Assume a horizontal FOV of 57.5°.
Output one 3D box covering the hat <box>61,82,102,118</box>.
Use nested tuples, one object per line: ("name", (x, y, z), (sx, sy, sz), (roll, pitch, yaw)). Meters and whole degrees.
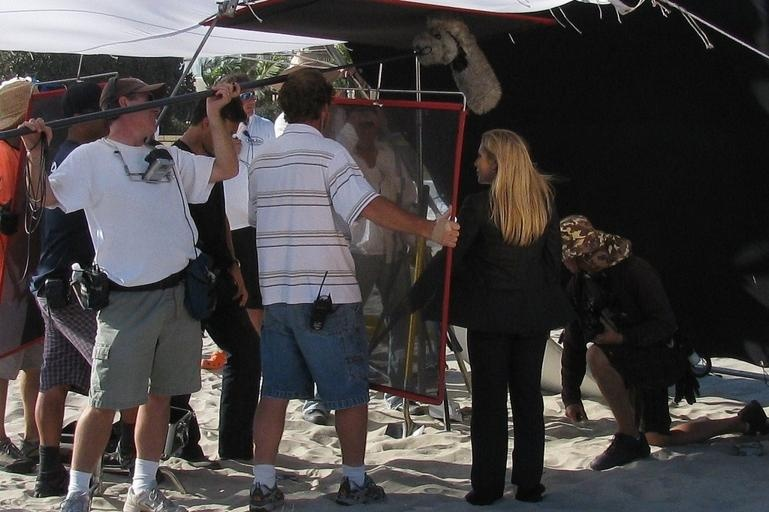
("hat", (-2.003, -1.019, 4.651), (0.282, 0.290, 0.220), (14, 15, 35))

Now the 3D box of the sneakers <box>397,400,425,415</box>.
("sneakers", (0.209, 1.301, 6.160), (0.266, 0.092, 0.162), (7, -1, 6))

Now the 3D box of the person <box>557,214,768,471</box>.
("person", (1.910, 0.591, 5.058), (1.204, 1.782, 0.640), (-3, -5, 9))

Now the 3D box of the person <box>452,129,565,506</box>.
("person", (0.792, 0.373, 4.415), (0.741, 2.347, 0.364), (-2, -5, 5))

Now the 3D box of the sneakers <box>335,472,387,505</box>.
("sneakers", (-0.124, 1.468, 4.488), (0.371, 0.176, 0.135), (0, 1, -40))
